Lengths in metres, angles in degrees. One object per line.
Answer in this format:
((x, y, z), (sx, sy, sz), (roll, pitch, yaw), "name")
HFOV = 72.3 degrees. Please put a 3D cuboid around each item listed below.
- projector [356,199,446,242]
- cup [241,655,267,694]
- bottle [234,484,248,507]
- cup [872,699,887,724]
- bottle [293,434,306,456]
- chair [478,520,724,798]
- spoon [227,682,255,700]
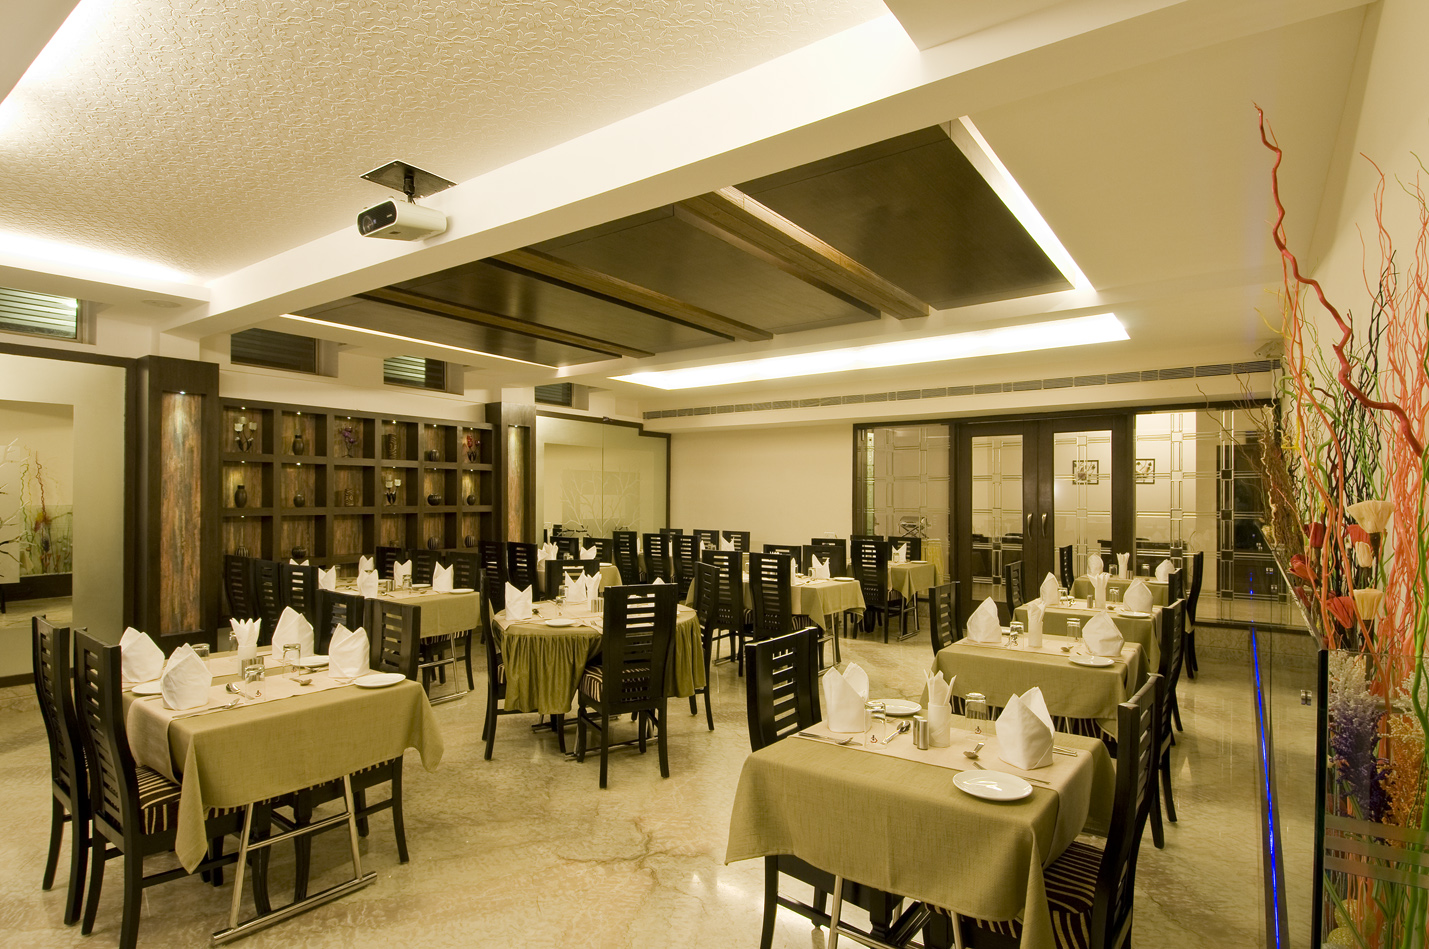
((-1.936, -1.569, 6.089), (0.312, 0.126, 0.330), (2, -4, -45), "projector")
((-2.726, 1.186, 5.757), (0.115, 0.117, 0.203), (12, -1, -19), "cup")
((-4.845, 0.225, 9.966), (0.121, 0.207, 0.184), (-6, 15, -24), "bottle")
((0.914, 1.315, 5.453), (0.070, 0.137, 0.072), (0, -2, 0), "cup")
((-4.470, -0.314, 10.474), (0.157, 0.247, 0.166), (-1, -5, 0), "bottle")
((-0.896, 1.420, 7.371), (1.501, 1.083, 1.337), (-1, -3, 27), "chair")
((-2.690, 1.218, 5.572), (0.112, 0.031, 0.088), (6, 8, 29), "spoon")
